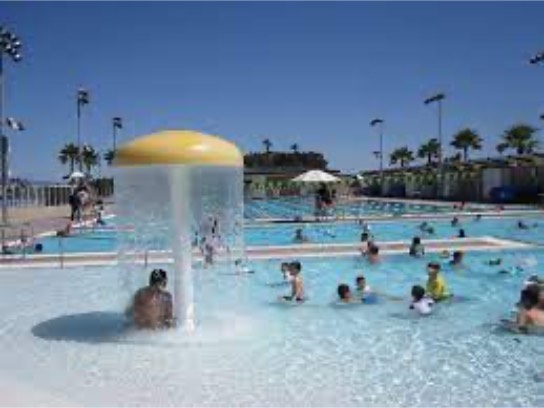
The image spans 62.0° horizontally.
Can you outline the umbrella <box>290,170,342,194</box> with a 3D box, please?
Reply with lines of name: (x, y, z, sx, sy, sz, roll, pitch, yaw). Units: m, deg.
umbrella: (2.354, -1.350, 21.838, 2.327, 0.923, 2.441, -6, 8, -10)
